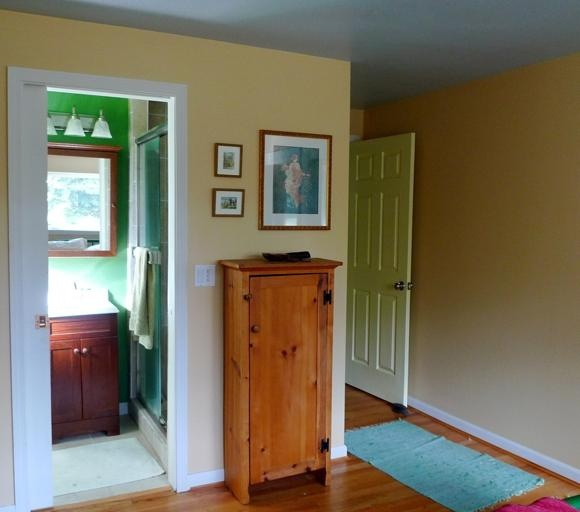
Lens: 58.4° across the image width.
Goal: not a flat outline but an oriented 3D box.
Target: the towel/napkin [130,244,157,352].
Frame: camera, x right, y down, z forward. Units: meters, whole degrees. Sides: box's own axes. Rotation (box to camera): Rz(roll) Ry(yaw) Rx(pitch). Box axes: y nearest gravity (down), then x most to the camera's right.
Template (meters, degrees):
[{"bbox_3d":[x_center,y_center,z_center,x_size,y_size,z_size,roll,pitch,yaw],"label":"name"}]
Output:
[{"bbox_3d":[-1.037,0.290,3.685,0.116,0.784,0.680,-1,5,-21],"label":"towel/napkin"}]

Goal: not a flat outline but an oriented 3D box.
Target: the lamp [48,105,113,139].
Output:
[{"bbox_3d":[-1.648,-1.023,3.957,0.525,0.278,0.194,-3,-2,-29],"label":"lamp"}]

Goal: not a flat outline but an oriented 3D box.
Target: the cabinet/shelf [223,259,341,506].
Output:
[{"bbox_3d":[-0.046,0.708,3.096,0.684,1.376,0.314,-2,6,-19],"label":"cabinet/shelf"}]

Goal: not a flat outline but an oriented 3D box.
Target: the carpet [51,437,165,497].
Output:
[{"bbox_3d":[-1.222,1.351,3.444,0.643,0.037,0.765,-3,7,-26],"label":"carpet"}]

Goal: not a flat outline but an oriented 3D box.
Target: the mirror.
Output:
[{"bbox_3d":[-1.641,-0.429,3.974,0.698,0.987,0.079,0,28,-21],"label":"mirror"}]

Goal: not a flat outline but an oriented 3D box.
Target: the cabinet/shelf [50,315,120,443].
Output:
[{"bbox_3d":[-1.543,0.802,3.859,0.512,0.993,0.429,0,14,-20],"label":"cabinet/shelf"}]

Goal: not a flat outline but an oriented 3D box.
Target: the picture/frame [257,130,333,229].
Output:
[{"bbox_3d":[0.010,-0.488,3.268,0.533,0.724,0.024,-3,7,-23],"label":"picture/frame"}]
